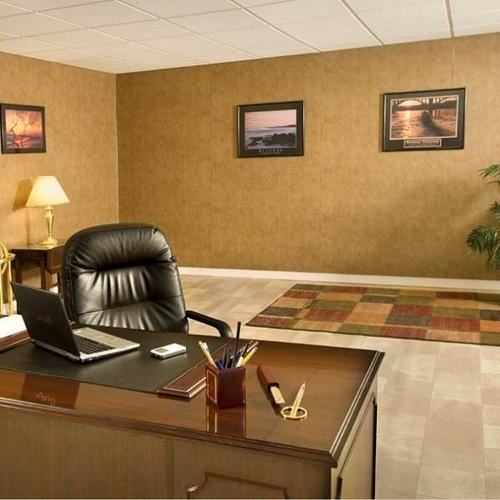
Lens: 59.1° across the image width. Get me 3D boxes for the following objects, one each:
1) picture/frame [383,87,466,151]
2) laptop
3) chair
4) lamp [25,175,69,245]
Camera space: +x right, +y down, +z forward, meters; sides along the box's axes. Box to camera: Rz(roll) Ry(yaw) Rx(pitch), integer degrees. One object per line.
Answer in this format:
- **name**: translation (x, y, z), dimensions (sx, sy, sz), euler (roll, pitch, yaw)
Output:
- **picture/frame**: translation (2.168, -1.609, 5.364), dimensions (0.964, 0.613, 0.017), euler (1, 2, 19)
- **laptop**: translation (-0.620, 0.258, 1.543), dimensions (0.358, 0.214, 0.321), euler (7, 7, 43)
- **chair**: translation (-0.625, 0.131, 2.516), dimensions (0.678, 0.806, 0.758), euler (-11, 7, -37)
- **lamp**: translation (-2.411, -0.472, 5.239), dimensions (0.459, 0.804, 0.865), euler (-8, 11, -35)
